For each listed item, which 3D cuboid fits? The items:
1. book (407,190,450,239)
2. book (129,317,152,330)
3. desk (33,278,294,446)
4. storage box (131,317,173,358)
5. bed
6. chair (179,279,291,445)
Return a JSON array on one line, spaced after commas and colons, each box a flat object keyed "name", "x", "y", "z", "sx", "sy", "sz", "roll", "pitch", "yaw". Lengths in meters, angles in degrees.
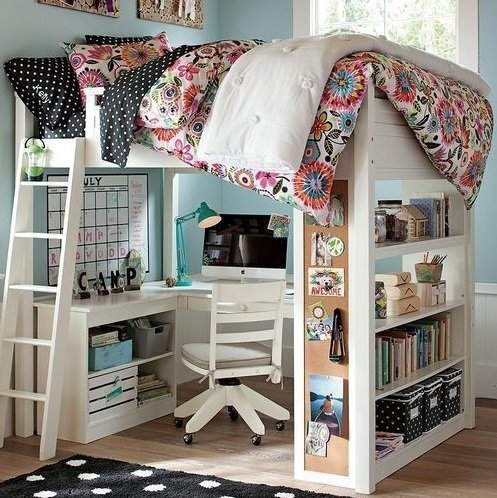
[{"name": "book", "x": 0.986, "y": -0.188, "z": 3.074, "sx": 0.233, "sy": 0.318, "sz": 0.305, "roll": -4, "pitch": 5, "yaw": -42}, {"name": "book", "x": -0.660, "y": 0.451, "z": 3.212, "sx": 0.077, "sy": 0.022, "sz": 0.082, "roll": 7, "pitch": 36, "yaw": -15}, {"name": "desk", "x": -0.403, "y": 0.634, "z": 2.943, "sx": 1.015, "sy": 0.823, "sz": 1.005, "roll": 1, "pitch": 4, "yaw": 29}, {"name": "storage box", "x": -0.591, "y": 0.544, "z": 3.237, "sx": 0.228, "sy": 0.171, "sz": 0.194, "roll": 0, "pitch": 2, "yaw": 36}, {"name": "bed", "x": -0.036, "y": -0.627, "z": 2.339, "sx": 1.462, "sy": 0.606, "sz": 1.108, "roll": 3, "pitch": 12, "yaw": 26}, {"name": "chair", "x": -0.110, "y": 0.585, "z": 2.903, "sx": 0.574, "sy": 0.839, "sz": 0.578, "roll": 0, "pitch": 1, "yaw": -34}]
